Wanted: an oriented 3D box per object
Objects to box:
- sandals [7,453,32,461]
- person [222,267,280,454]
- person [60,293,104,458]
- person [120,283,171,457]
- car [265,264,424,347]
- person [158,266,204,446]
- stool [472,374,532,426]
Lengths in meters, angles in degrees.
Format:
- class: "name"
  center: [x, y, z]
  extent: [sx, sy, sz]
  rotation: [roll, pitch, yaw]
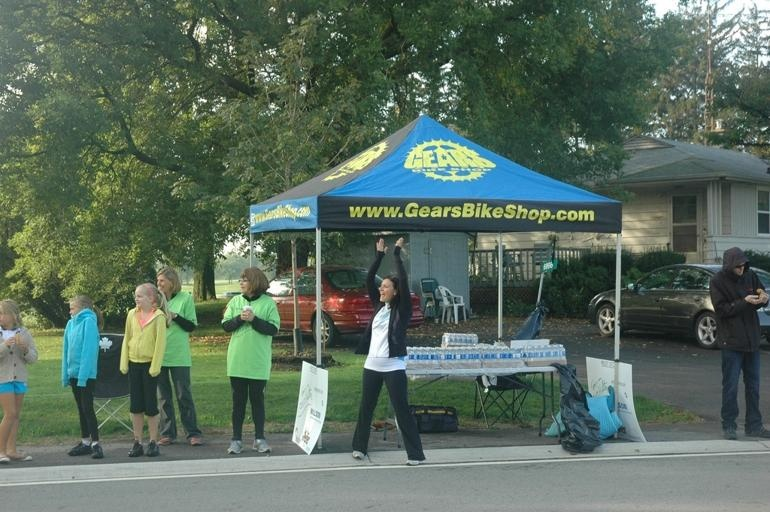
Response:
- class: "sandals"
  center: [-8.185, 4.494, 29.812]
  extent: [0.553, 0.214, 0.185]
  rotation: [-1, -5, -3]
- class: "person"
  center: [-3.087, 2.356, 30.176]
  extent: [1.403, 4.183, 1.071]
  rotation: [-1, -4, 22]
- class: "person"
  center: [-6.800, 2.723, 30.181]
  extent: [0.816, 3.595, 1.324]
  rotation: [3, -5, -43]
- class: "person"
  center: [-5.516, 2.566, 30.192]
  extent: [1.092, 3.752, 0.755]
  rotation: [-2, -5, 14]
- class: "car"
  center: [-1.502, 1.408, 38.974]
  extent: [4.669, 1.518, 2.121]
  rotation: [-1, -3, 44]
- class: "person"
  center: [-4.928, 2.398, 30.825]
  extent: [1.168, 3.662, 1.384]
  rotation: [0, 0, 40]
- class: "stool"
  center: [2.697, 3.413, 32.029]
  extent: [1.296, 1.675, 1.284]
  rotation: [3, -10, -13]
